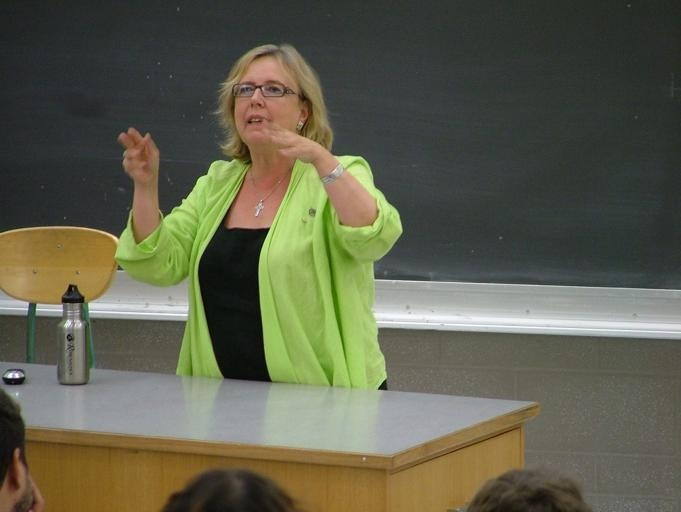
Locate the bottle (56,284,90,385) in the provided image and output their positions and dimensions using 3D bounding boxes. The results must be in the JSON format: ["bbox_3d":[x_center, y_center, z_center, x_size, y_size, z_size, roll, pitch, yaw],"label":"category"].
[{"bbox_3d":[-0.864,0.247,3.525,0.109,0.279,0.137,2,-1,-14],"label":"bottle"}]

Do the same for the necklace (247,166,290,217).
[{"bbox_3d":[-0.226,-0.209,3.665,0.067,0.251,0.021,30,-8,26],"label":"necklace"}]

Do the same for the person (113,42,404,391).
[{"bbox_3d":[-0.263,-0.149,3.605,0.934,0.870,0.340,2,-1,8],"label":"person"}]
